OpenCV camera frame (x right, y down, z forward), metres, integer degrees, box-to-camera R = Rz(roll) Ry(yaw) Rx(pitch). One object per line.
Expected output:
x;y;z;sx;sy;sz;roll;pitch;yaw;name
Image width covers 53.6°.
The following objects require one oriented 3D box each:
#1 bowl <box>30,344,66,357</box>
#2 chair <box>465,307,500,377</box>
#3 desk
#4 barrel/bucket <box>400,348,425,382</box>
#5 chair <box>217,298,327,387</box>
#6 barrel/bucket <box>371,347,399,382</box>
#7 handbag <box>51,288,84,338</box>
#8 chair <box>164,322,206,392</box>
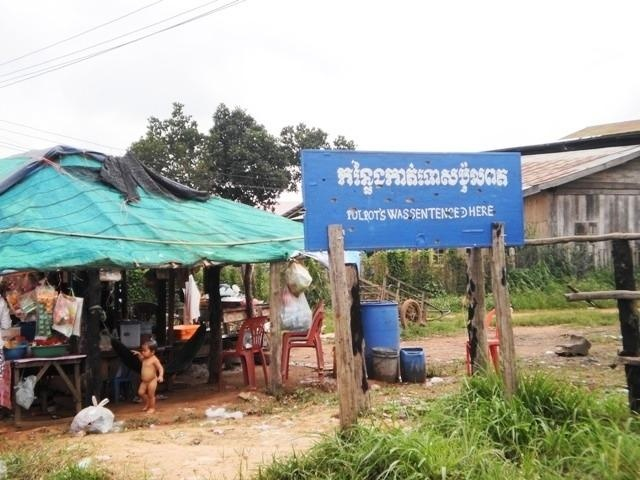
-4.351;1.792;10.171;0.497;0.198;0.313;0;-6;-22;bowl
2.754;1.735;10.668;0.638;1.055;0.739;-5;-15;6;chair
-4.306;2.271;10.494;1.478;1.146;1.485;-1;1;40;desk
1.724;2.366;11.877;0.528;0.575;0.560;-1;1;0;barrel/bucket
-0.853;2.070;12.299;2.086;1.556;1.322;0;-9;4;chair
1.227;2.326;11.763;0.553;0.597;0.569;0;2;0;barrel/bucket
-4.100;1.222;10.298;0.498;0.699;0.384;-1;-5;-13;handbag
-2.669;2.285;12.537;1.226;1.265;0.844;7;-12;-36;chair
